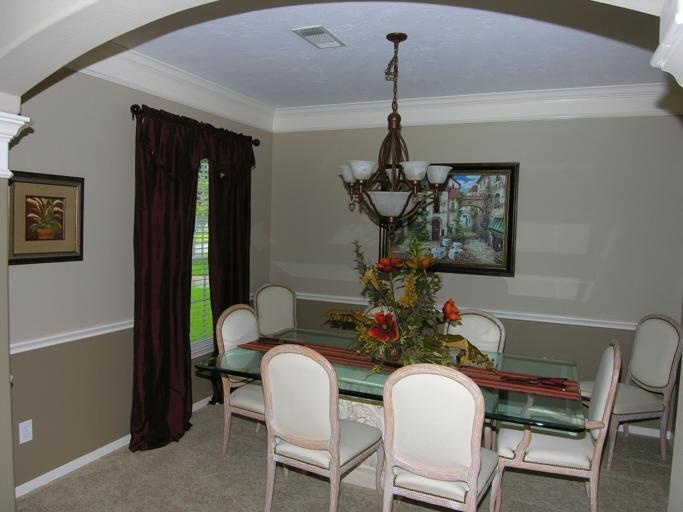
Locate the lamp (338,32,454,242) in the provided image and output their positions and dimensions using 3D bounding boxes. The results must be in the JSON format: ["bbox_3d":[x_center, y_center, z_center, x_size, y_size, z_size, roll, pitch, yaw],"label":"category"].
[{"bbox_3d":[0.401,-0.907,3.661,0.849,1.456,0.889,4,5,30],"label":"lamp"}]

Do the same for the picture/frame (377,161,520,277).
[{"bbox_3d":[1.102,-0.348,4.607,1.140,0.998,0.053,4,5,16],"label":"picture/frame"}]

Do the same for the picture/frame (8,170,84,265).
[{"bbox_3d":[-2.216,-0.275,3.580,0.061,0.820,0.691,3,3,34],"label":"picture/frame"}]

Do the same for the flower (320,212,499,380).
[{"bbox_3d":[0.733,0.375,3.763,1.074,0.872,1.393,-16,27,-37],"label":"flower"}]
